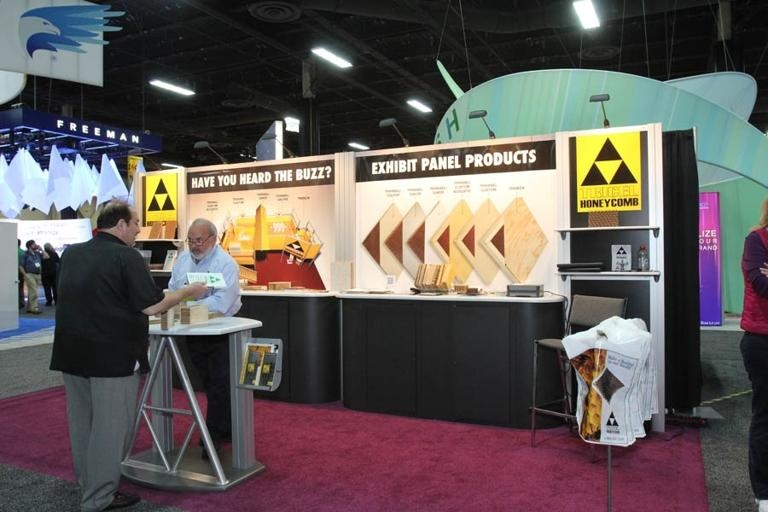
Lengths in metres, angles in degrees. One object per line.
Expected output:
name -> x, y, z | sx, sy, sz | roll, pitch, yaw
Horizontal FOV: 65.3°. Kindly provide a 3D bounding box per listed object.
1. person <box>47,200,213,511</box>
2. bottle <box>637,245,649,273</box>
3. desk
person -> -2.222, 0.790, 4.911 | 0.950, 2.473, 0.504 | -3, 7, -22
bottle -> 2.721, 0.019, 6.272 | 0.122, 0.263, 0.171 | 3, 7, 23
desk -> -1.635, 1.241, 5.764 | 1.429, 1.442, 1.328 | -1, -3, 27
